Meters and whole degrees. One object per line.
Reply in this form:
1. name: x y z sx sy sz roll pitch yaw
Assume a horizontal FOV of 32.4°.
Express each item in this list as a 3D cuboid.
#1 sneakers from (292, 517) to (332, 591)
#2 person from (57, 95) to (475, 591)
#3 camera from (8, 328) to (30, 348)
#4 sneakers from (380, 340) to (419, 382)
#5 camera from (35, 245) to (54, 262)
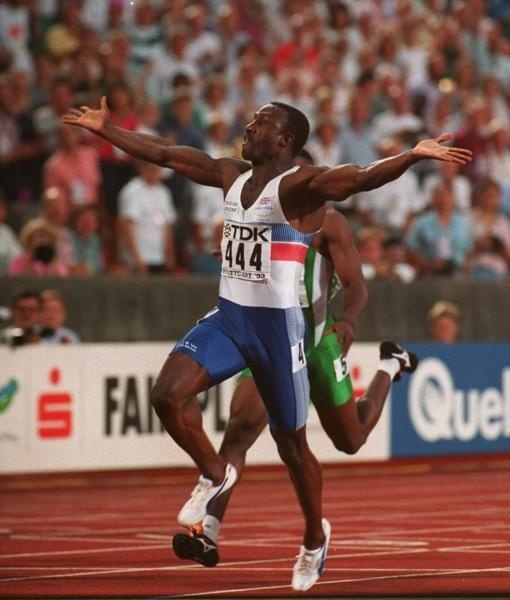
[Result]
1. sneakers: 0.207 1.030 3.515 0.104 0.092 0.288 11 48 25
2. person: -0.018 0.183 3.411 1.208 1.955 0.853 -1 7 -8
3. camera: -1.517 0.247 5.702 0.117 0.123 0.050 3 -12 5
4. sneakers: 0.735 0.325 4.743 0.126 0.305 0.138 5 49 37
5. camera: -1.514 -0.327 6.304 0.143 0.129 0.090 -2 7 -14
